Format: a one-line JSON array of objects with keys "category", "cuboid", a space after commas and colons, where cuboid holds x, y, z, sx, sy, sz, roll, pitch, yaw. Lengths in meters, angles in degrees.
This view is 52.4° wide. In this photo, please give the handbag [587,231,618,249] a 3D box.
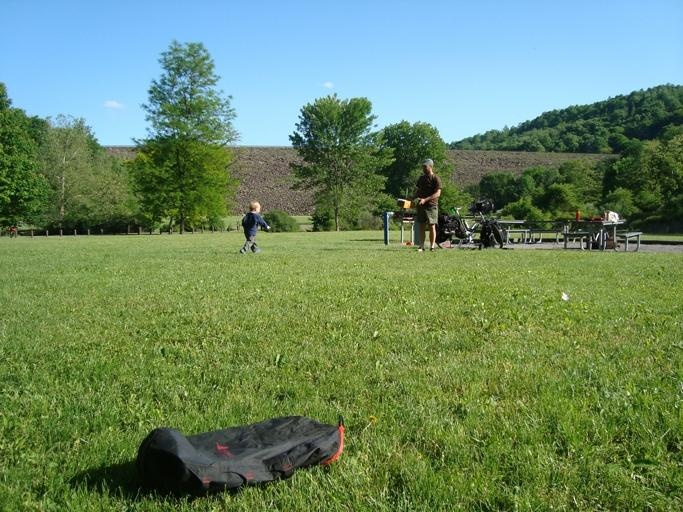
[{"category": "handbag", "cuboid": [7.750, -0.453, 20.648, 0.523, 0.447, 0.944, -2, -5, 27]}]

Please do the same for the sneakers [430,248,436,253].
[{"category": "sneakers", "cuboid": [2.270, -0.169, 17.073, 0.094, 0.124, 0.277, -3, -11, 6]}]

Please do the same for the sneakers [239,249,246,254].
[{"category": "sneakers", "cuboid": [-2.560, -0.112, 17.975, 0.113, 0.105, 0.287, -12, 8, -8]}]
